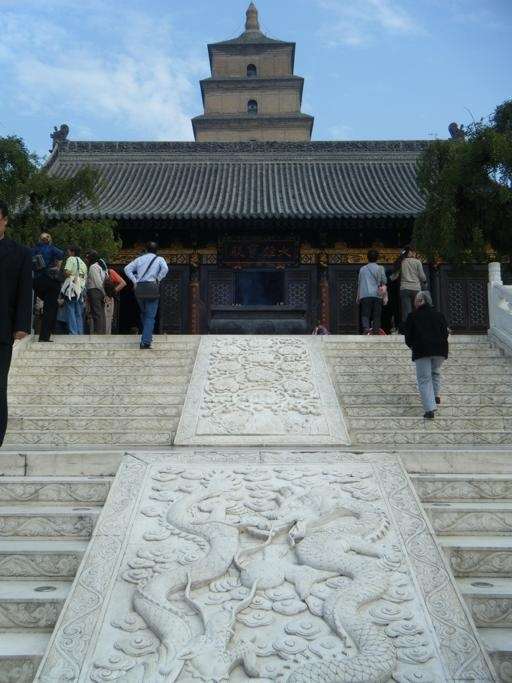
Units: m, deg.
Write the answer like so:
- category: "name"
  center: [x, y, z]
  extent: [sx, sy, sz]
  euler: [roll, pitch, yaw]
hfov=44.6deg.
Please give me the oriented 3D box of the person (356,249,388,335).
- category: "person"
  center: [1.588, -0.620, 8.531]
  extent: [0.398, 1.259, 0.904]
  euler: [4, 15, 10]

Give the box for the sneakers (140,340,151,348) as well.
- category: "sneakers"
  center: [-1.231, 0.041, 6.972]
  extent: [0.121, 0.081, 0.091]
  euler: [-2, 15, -12]

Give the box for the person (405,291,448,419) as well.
- category: "person"
  center: [1.420, 0.187, 5.254]
  extent: [0.351, 0.834, 0.609]
  euler: [5, 15, 15]

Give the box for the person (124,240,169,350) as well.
- category: "person"
  center: [-1.268, -0.569, 7.310]
  extent: [0.488, 1.150, 1.080]
  euler: [-1, 15, -11]

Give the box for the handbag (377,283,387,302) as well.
- category: "handbag"
  center: [1.737, -0.638, 8.498]
  extent: [0.079, 0.295, 0.433]
  euler: [6, 15, 19]
